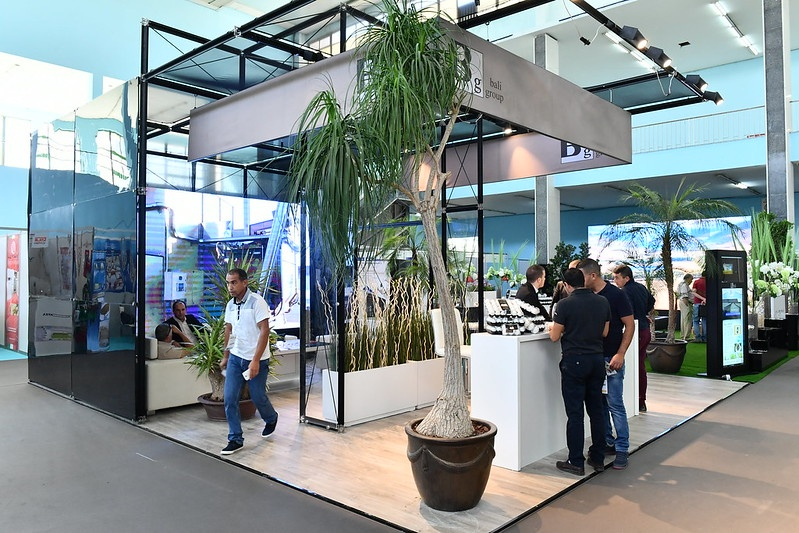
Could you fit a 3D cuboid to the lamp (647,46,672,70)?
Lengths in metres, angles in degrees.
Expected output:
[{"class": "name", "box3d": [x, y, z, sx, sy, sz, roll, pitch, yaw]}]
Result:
[{"class": "lamp", "box3d": [3.903, -3.148, 7.980, 0.294, 0.407, 0.465, 2, 7, 19]}]

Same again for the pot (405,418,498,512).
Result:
[{"class": "pot", "box3d": [0.595, 1.878, 5.199, 0.649, 0.508, 0.648, 6, -10, 1]}]

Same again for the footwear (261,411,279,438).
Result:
[{"class": "footwear", "box3d": [-1.606, 1.986, 6.611, 0.134, 0.147, 0.364, -2, 4, 4]}]

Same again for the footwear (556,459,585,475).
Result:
[{"class": "footwear", "box3d": [1.822, 2.126, 5.673, 0.291, 0.116, 0.126, 9, 4, 39]}]

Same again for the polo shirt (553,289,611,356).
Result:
[{"class": "polo shirt", "box3d": [1.962, 0.597, 5.629, 0.740, 0.831, 0.439, -1, 0, 4]}]

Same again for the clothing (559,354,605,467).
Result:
[{"class": "clothing", "box3d": [1.994, 1.516, 5.653, 0.497, 1.234, 0.256, -2, 7, -11]}]
